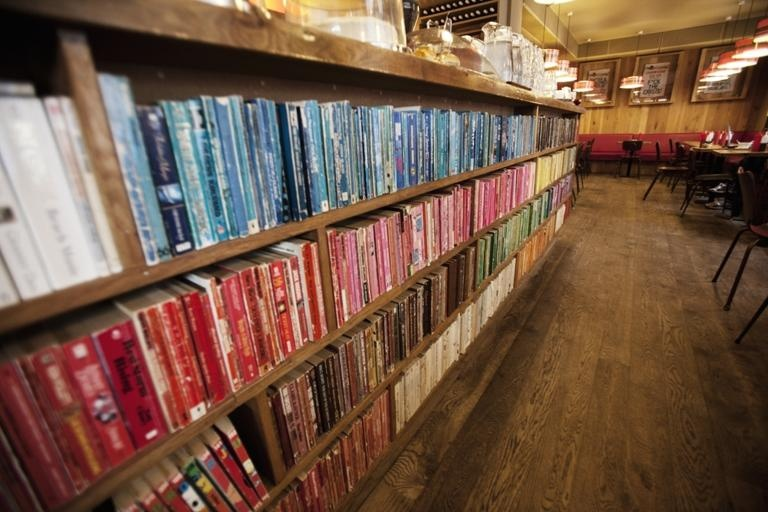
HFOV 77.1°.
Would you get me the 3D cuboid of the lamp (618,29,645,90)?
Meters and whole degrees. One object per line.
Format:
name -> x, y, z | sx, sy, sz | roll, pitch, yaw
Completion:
lamp -> 4.734, -3.687, 9.084 | 0.386, 1.005, 1.334 | 7, 21, 24
